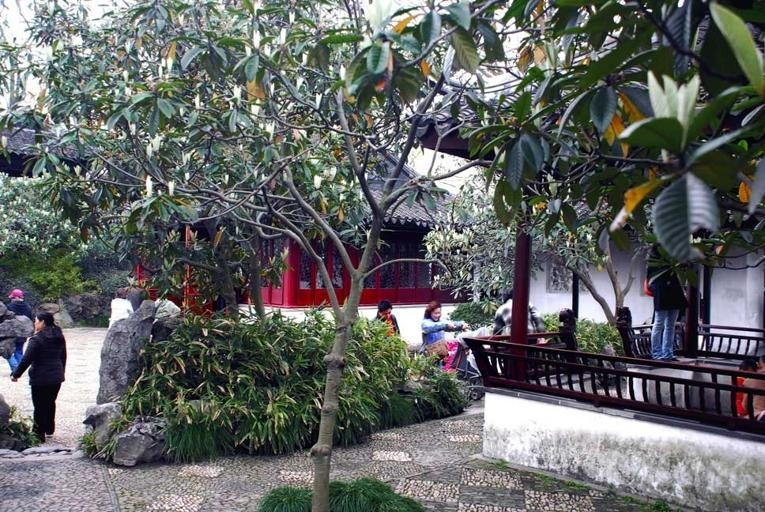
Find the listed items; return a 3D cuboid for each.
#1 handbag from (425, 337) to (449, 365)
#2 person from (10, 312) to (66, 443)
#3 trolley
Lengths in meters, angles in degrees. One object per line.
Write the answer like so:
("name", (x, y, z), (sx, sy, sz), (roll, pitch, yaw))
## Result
("handbag", (1.032, 1.729, 10.550), (0.366, 0.403, 0.459), (-14, -22, -9))
("person", (-5.028, 1.762, 8.464), (0.567, 1.877, 0.364), (5, -6, -34))
("trolley", (1.831, 2.079, 10.865), (0.763, 1.260, 1.102), (4, 7, -27))
